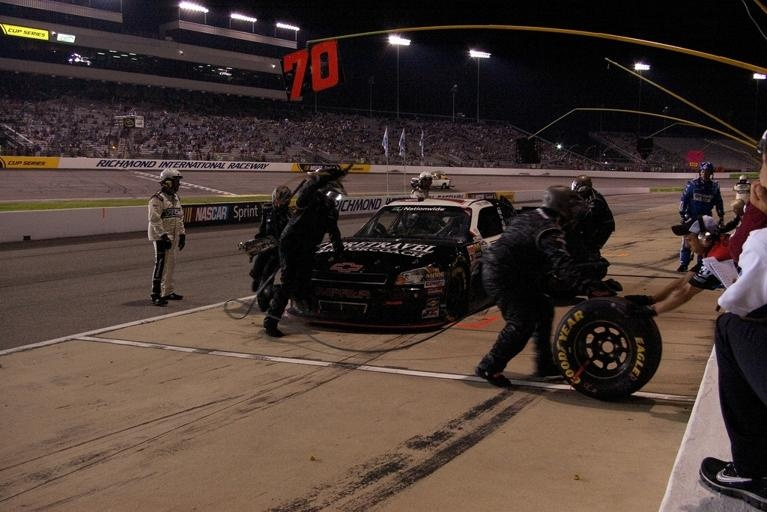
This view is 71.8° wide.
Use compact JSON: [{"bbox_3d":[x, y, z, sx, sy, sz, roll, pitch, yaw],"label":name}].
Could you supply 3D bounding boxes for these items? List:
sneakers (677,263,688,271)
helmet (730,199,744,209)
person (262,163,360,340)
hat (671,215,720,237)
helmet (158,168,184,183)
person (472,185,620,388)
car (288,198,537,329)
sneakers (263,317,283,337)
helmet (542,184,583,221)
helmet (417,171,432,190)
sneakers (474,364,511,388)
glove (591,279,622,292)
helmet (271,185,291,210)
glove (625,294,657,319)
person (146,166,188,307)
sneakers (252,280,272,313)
[{"bbox_3d":[6.105,0.213,10.832,0.351,0.134,0.114,-9,-1,-43],"label":"sneakers"},{"bbox_3d":[5.778,-0.873,8.675,0.192,0.192,0.153,4,10,-42],"label":"helmet"},{"bbox_3d":[-1.102,-0.107,7.093,1.277,2.164,0.671,-9,16,-29],"label":"person"},{"bbox_3d":[3.167,-0.295,5.479,0.326,0.183,0.495,-6,5,-45],"label":"hat"},{"bbox_3d":[-3.549,-1.348,8.820,0.280,0.243,0.583,-5,13,-17],"label":"helmet"},{"bbox_3d":[1.505,0.320,5.247,1.074,1.984,0.713,2,14,13],"label":"person"},{"bbox_3d":[0.600,0.014,7.849,1.753,0.901,3.043,2,4,30],"label":"car"},{"bbox_3d":[-1.425,0.902,6.861,0.253,0.237,0.158,-3,13,-8],"label":"sneakers"},{"bbox_3d":[1.800,-0.564,5.368,0.428,0.361,0.306,-14,25,-30],"label":"helmet"},{"bbox_3d":[0.978,-1.771,12.376,0.362,0.404,0.437,-2,4,-26],"label":"helmet"},{"bbox_3d":[1.101,1.181,5.373,0.422,0.164,0.154,23,30,2],"label":"sneakers"},{"bbox_3d":[2.043,0.231,4.851,0.233,0.079,0.154,6,3,-13],"label":"glove"},{"bbox_3d":[-1.445,-0.923,7.763,0.278,0.309,0.326,8,-23,-8],"label":"helmet"},{"bbox_3d":[2.195,0.415,4.503,0.227,0.071,0.224,1,17,5],"label":"glove"},{"bbox_3d":[-3.621,-0.357,8.783,0.664,2.168,1.059,-6,14,-20],"label":"person"},{"bbox_3d":[-1.738,0.578,7.759,0.242,0.260,0.628,1,2,-6],"label":"sneakers"}]
